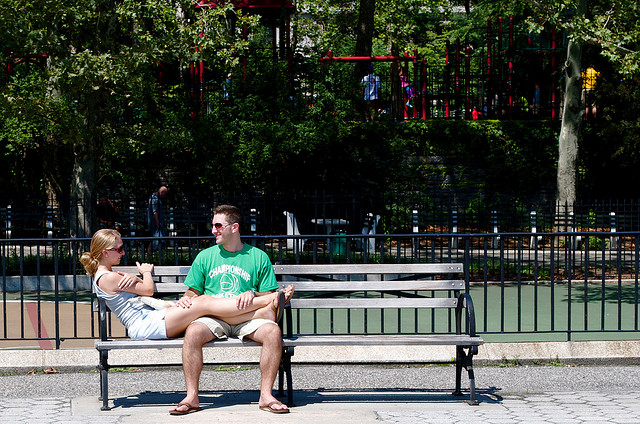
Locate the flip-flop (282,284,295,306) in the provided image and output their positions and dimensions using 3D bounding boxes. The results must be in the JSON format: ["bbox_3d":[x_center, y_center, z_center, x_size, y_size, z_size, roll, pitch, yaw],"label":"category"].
[{"bbox_3d":[-0.648,1.601,27.563,0.144,0.475,0.190,20,-32,21],"label":"flip-flop"}]

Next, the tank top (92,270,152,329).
[{"bbox_3d":[-4.087,1.722,27.530,0.866,1.217,0.887,1,-1,-19],"label":"tank top"}]

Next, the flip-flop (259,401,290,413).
[{"bbox_3d":[-0.955,3.867,26.983,0.536,0.139,0.219,-3,-2,33],"label":"flip-flop"}]

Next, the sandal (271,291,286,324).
[{"bbox_3d":[-0.830,1.898,27.394,0.233,0.658,0.269,5,0,-17],"label":"sandal"}]

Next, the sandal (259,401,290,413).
[{"bbox_3d":[-0.954,3.853,26.983,0.533,0.137,0.219,-3,-3,34],"label":"sandal"}]

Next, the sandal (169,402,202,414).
[{"bbox_3d":[-2.688,3.889,26.976,0.600,0.152,0.213,6,-8,-22],"label":"sandal"}]
